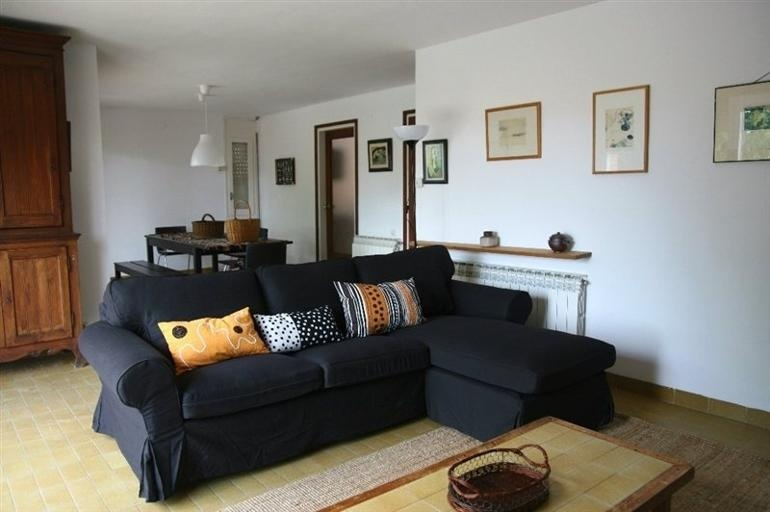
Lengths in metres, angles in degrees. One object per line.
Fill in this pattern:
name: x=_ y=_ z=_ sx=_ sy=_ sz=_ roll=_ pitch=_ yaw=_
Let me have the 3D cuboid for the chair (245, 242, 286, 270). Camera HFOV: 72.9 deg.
chair: x=-1.254 y=-0.009 z=5.366 sx=0.267 sy=0.371 sz=0.214 roll=-4 pitch=9 yaw=-39

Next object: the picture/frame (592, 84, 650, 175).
picture/frame: x=1.940 y=-1.037 z=4.279 sx=0.444 sy=0.673 sz=0.155 roll=3 pitch=11 yaw=28

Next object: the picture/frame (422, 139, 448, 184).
picture/frame: x=0.531 y=-1.006 z=5.456 sx=0.066 sy=0.593 sz=0.460 roll=-7 pitch=9 yaw=-39

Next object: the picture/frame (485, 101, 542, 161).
picture/frame: x=1.219 y=-1.176 z=4.861 sx=0.615 sy=0.559 sz=0.026 roll=5 pitch=10 yaw=42

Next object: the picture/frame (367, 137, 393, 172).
picture/frame: x=-0.056 y=-1.402 z=7.129 sx=0.042 sy=0.484 sz=0.501 roll=-7 pitch=10 yaw=-42
